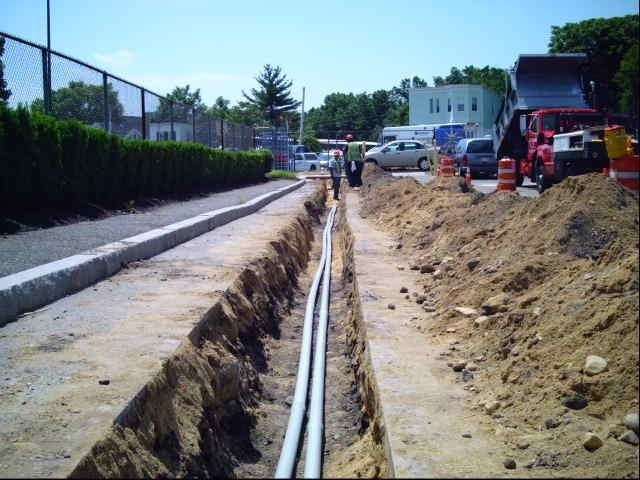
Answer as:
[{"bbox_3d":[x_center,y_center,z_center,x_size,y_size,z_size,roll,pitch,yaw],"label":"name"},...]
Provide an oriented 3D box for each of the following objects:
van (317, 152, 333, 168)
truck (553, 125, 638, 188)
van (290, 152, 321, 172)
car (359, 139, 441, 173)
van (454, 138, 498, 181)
[{"bbox_3d":[0.391,-6.032,45.438,0.960,1.012,1.802,-1,7,2],"label":"van"},{"bbox_3d":[6.486,-1.775,13.603,1.435,1.498,2.650,-1,10,0],"label":"truck"},{"bbox_3d":[-1.012,-5.929,46.642,2.250,1.147,1.412,7,18,8],"label":"van"},{"bbox_3d":[4.582,-4.813,34.128,4.018,1.491,1.924,3,10,2],"label":"car"},{"bbox_3d":[6.954,-3.636,27.187,1.772,1.772,3.790,0,14,4],"label":"van"}]
